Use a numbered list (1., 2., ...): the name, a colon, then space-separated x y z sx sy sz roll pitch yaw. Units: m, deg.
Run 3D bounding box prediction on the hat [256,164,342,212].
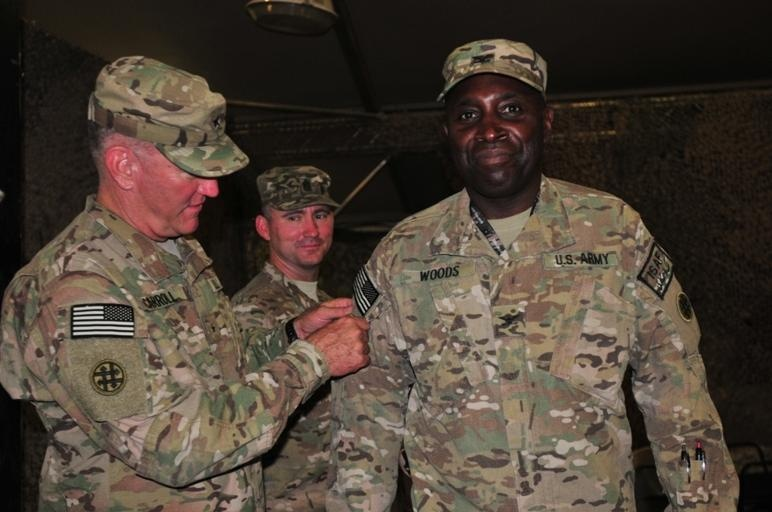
1. hat: -0.534 -0.408 6.126 0.335 0.151 0.399 0 -4 -34
